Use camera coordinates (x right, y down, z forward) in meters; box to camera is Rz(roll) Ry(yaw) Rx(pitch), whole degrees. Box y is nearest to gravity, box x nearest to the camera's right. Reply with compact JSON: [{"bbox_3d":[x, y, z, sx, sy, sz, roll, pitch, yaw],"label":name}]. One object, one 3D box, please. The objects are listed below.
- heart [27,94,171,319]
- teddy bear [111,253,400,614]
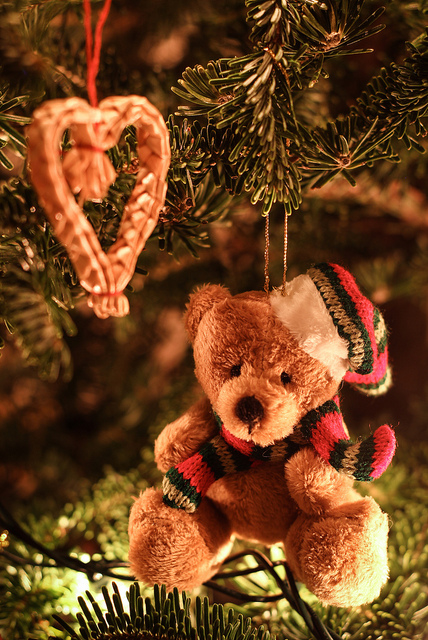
[{"bbox_3d":[-0.079,-0.078,0.439,0.037,0.147,0.110,19,27,41],"label":"heart"},{"bbox_3d":[0.054,0.105,0.643,0.282,0.223,0.308,2,100,7],"label":"teddy bear"}]
